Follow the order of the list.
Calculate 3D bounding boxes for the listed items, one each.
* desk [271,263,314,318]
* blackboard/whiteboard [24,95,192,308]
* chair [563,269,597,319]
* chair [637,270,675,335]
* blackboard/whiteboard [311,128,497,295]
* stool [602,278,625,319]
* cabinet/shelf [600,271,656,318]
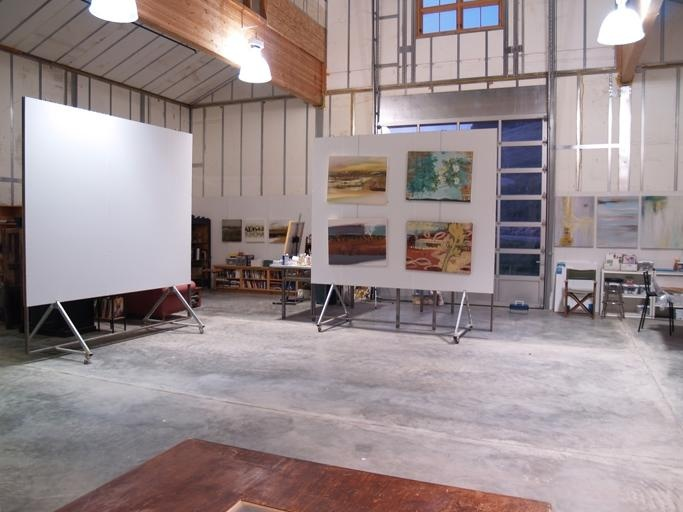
[{"bbox_3d":[-0.987,0.558,10.741,0.704,1.127,3.776,0,6,-5],"label":"desk"},{"bbox_3d":[-3.272,-0.731,6.954,0.485,2.543,2.247,7,9,42],"label":"blackboard/whiteboard"},{"bbox_3d":[4.756,0.713,9.913,0.539,0.894,0.554,3,7,20],"label":"chair"},{"bbox_3d":[5.539,0.750,8.678,0.547,0.991,1.842,5,7,32],"label":"chair"},{"bbox_3d":[0.969,-0.726,7.977,3.342,2.382,0.027,-1,4,-21],"label":"blackboard/whiteboard"},{"bbox_3d":[5.310,0.801,9.664,0.404,0.743,0.567,4,7,29],"label":"stool"},{"bbox_3d":[5.488,0.724,9.477,1.017,0.832,0.324,-1,-2,21],"label":"cabinet/shelf"}]
